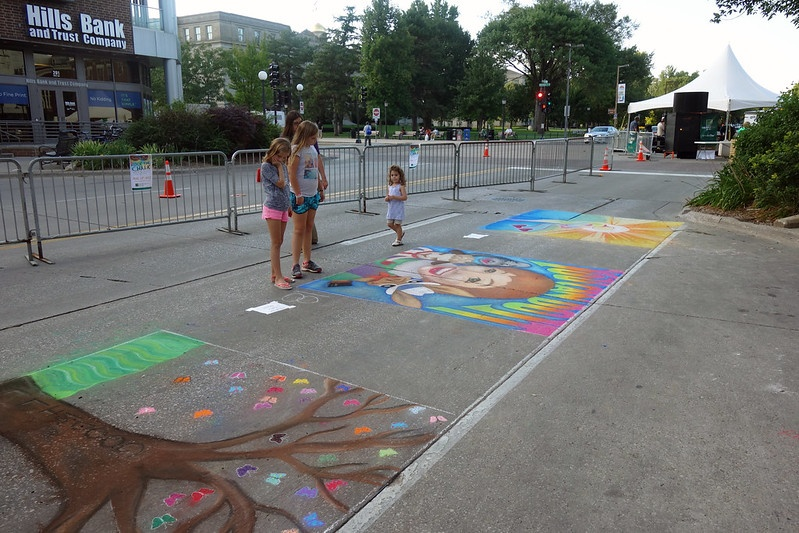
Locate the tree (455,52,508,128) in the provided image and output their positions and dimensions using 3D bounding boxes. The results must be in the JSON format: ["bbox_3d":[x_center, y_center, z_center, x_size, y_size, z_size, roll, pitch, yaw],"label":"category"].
[{"bbox_3d":[11.331,-26.130,76.534,7.903,12.667,8.606,10,20,22],"label":"tree"}]

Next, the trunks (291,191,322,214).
[{"bbox_3d":[-1.475,-0.964,8.008,0.290,0.337,0.459,8,15,38],"label":"trunks"}]

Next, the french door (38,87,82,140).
[{"bbox_3d":[-20.622,-9.605,32.553,0.146,3.246,2.275,14,22,8],"label":"french door"}]

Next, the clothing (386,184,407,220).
[{"bbox_3d":[-0.079,-1.158,9.475,0.271,0.648,0.289,-2,16,-9],"label":"clothing"}]

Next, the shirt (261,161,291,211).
[{"bbox_3d":[-1.794,-1.159,7.526,0.409,0.711,0.331,-6,17,-21],"label":"shirt"}]

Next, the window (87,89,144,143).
[{"bbox_3d":[-18.675,-10.204,33.878,5.184,3.454,0.202,9,12,20],"label":"window"}]

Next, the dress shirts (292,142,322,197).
[{"bbox_3d":[-1.470,-1.496,8.016,0.447,0.936,0.694,4,13,13],"label":"dress shirts"}]

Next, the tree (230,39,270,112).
[{"bbox_3d":[-18.179,-22.644,61.550,4.457,7.798,10.286,-5,17,-18],"label":"tree"}]

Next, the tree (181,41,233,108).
[{"bbox_3d":[-26.654,-26.227,70.271,5.052,7.688,6.705,4,16,12],"label":"tree"}]
